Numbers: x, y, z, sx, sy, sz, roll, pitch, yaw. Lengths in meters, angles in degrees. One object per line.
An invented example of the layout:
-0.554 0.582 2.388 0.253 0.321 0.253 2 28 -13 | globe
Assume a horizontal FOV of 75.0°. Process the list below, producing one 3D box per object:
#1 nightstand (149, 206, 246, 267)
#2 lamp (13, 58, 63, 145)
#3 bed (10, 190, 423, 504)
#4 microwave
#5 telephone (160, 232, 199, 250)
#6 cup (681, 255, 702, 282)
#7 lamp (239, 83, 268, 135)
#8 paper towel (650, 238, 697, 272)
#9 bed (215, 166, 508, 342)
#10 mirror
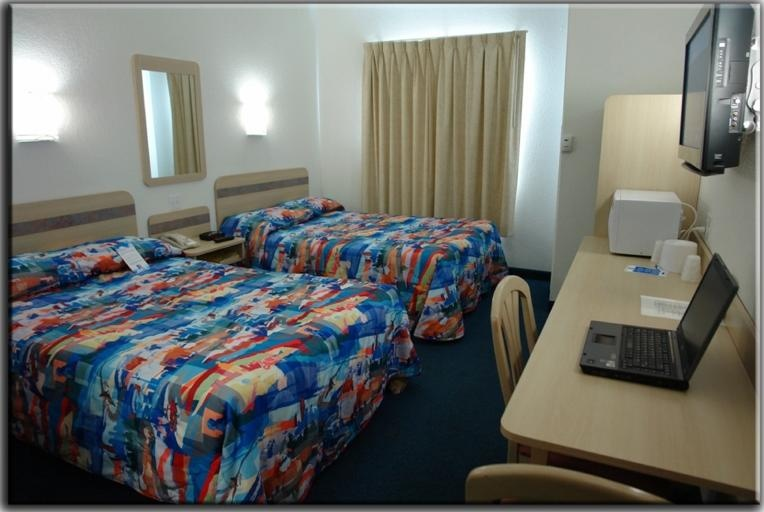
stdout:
-1.486 -0.083 4.122 0.428 0.559 0.605 12 20 19 | nightstand
-2.211 -0.988 3.179 0.095 0.502 0.315 5 19 20 | lamp
-1.228 0.378 2.572 1.938 0.581 1.272 8 18 25 | bed
1.686 -0.224 3.231 0.386 0.343 0.522 4 11 23 | microwave
-1.586 -0.134 3.880 0.221 0.050 0.160 18 19 30 | telephone
1.652 0.059 2.675 0.126 0.130 0.122 -3 15 1 | cup
-1.183 -1.400 4.709 0.121 0.497 0.421 5 18 20 | lamp
1.692 -0.009 2.881 0.222 0.153 0.228 4 14 37 | paper towel
-0.078 -0.331 4.684 2.607 1.058 1.751 12 34 36 | bed
-1.687 -1.080 3.966 0.139 0.955 0.676 6 19 22 | mirror
